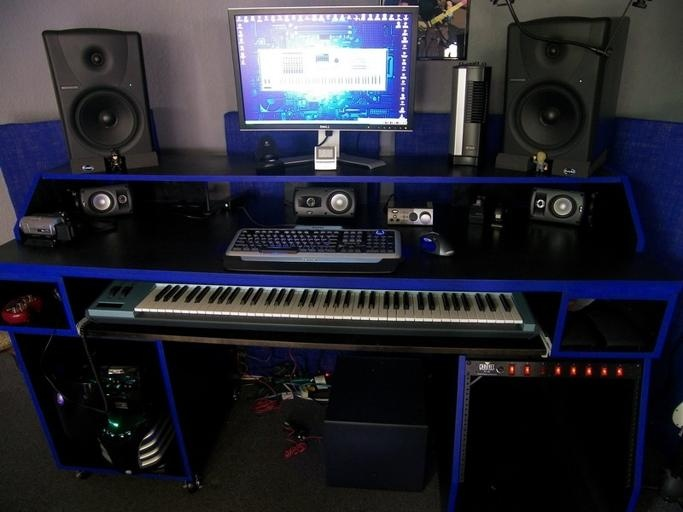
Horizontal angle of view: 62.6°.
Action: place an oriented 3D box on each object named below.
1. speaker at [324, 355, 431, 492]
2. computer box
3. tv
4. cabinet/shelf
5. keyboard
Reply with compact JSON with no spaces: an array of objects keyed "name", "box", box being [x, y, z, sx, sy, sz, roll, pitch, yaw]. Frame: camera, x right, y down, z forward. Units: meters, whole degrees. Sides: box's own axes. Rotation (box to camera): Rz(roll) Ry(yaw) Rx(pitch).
[{"name":"speaker","box":[0.154,0.698,2.362,0.443,0.367,0.498,1,34,5]},{"name":"computer box","box":[-0.682,0.516,2.417,0.444,0.748,0.613,-2,35,2]},{"name":"tv","box":[-0.060,-0.710,2.314,0.751,0.662,0.200,1,30,3]},{"name":"cabinet/shelf","box":[-0.023,0.300,2.374,2.458,1.284,0.766,2,19,7]},{"name":"keyboard","box":[-0.108,-0.024,2.136,0.651,0.108,0.230,1,19,3]}]
